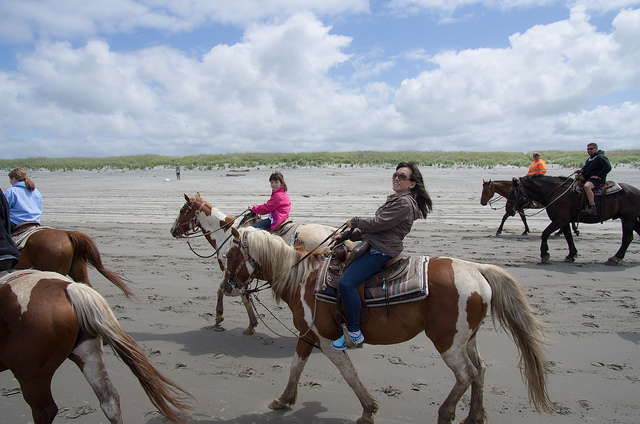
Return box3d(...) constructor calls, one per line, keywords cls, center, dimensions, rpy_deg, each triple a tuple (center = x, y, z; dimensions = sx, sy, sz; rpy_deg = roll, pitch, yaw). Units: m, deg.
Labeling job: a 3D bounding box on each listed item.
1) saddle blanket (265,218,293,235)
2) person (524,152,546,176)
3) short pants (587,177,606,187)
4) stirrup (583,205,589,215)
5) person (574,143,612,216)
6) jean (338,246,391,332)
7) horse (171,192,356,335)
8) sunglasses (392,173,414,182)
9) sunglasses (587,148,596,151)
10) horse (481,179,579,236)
box3d(cls="saddle blanket", center=(-0.914, 0.311, 9.609), dimensions=(0.452, 0.163, 0.341), rpy_deg=(-29, -3, -4))
box3d(cls="person", center=(8.771, -1.940, 16.852), dimensions=(0.520, 0.823, 1.171), rpy_deg=(0, 7, 26))
box3d(cls="short pants", center=(8.551, -0.901, 12.933), dimensions=(0.506, 0.295, 0.243), rpy_deg=(-1, 7, 14))
box3d(cls="stirrup", center=(8.217, -0.027, 12.864), dimensions=(0.092, 0.268, 0.192), rpy_deg=(12, 1, 20))
box3d(cls="person", center=(8.445, -0.972, 12.933), dimensions=(0.904, 2.245, 1.098), rpy_deg=(2, 8, 34))
box3d(cls="jean", center=(0.624, 1.147, 6.278), dimensions=(1.410, 1.182, 0.584), rpy_deg=(1, -2, -2))
box3d(cls="horse", center=(-1.406, 1.350, 9.852), dimensions=(4.427, 3.108, 1.142), rpy_deg=(4, 12, 12))
box3d(cls="sunglasses", center=(1.290, -0.535, 6.564), dimensions=(0.245, 0.117, 0.067), rpy_deg=(-4, 7, -10))
box3d(cls="sunglasses", center=(8.458, -1.947, 12.988), dimensions=(0.090, 0.046, 0.212), rpy_deg=(-8, 8, -36))
box3d(cls="horse", center=(8.435, -0.033, 16.720), dimensions=(3.700, 2.205, 0.893), rpy_deg=(2, -5, 4))
